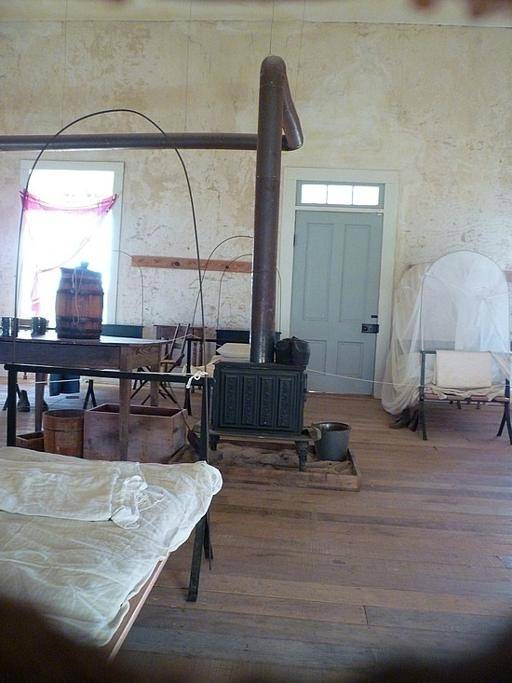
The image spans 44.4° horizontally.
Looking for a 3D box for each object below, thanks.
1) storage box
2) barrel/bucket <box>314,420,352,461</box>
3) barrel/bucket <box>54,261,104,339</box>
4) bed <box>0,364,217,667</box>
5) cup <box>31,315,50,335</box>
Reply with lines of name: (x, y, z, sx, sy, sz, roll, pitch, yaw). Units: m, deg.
storage box: (-0.579, 0.465, 3.160, 0.504, 0.249, 0.357, 4, 6, 7)
barrel/bucket: (0.401, 0.550, 3.529, 0.211, 0.162, 0.231, -1, -1, 0)
barrel/bucket: (-0.723, -0.165, 2.597, 0.201, 0.315, 0.183, 1, 4, -27)
bed: (-0.359, 0.409, 1.650, 0.445, 0.789, 0.436, 10, 48, -4)
cup: (-1.026, -0.074, 2.973, 0.073, 0.100, 0.107, 6, -9, -33)
